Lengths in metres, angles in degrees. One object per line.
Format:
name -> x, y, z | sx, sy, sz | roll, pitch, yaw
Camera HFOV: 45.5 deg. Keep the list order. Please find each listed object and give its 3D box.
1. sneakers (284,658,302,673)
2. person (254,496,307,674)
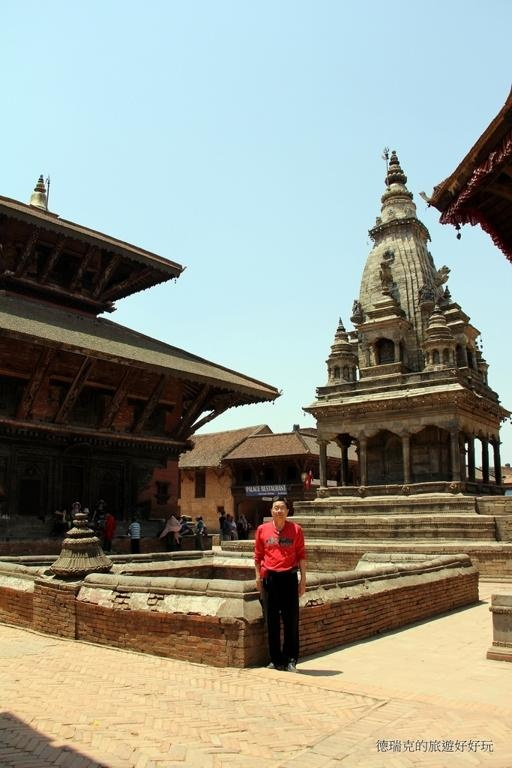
sneakers -> 0.292, 2.350, 5.059 | 0.058, 0.102, 0.156 | 11, -33, -16
person -> 0.180, 1.725, 5.358 | 0.447, 1.388, 0.395 | -1, -12, 9
